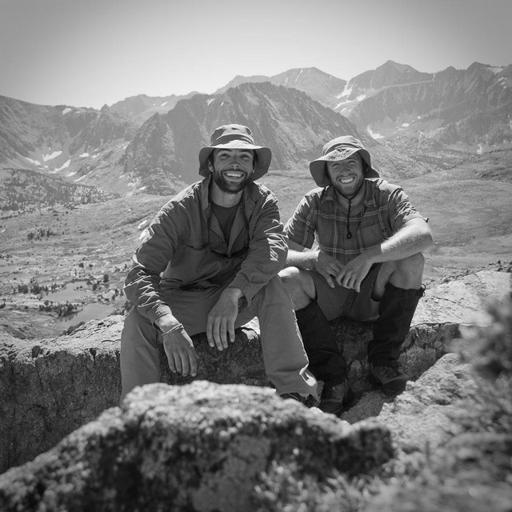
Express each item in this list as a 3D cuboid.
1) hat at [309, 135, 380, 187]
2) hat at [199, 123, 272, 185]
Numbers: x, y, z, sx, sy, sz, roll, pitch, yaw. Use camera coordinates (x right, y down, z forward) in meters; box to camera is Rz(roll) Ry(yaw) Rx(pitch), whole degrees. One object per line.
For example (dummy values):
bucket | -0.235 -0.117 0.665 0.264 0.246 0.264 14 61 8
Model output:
hat | 1.016 -1.228 6.098 0.538 0.430 0.775 -12 -27 13
hat | -0.219 -1.177 5.492 0.553 0.348 0.751 1 -26 -2
